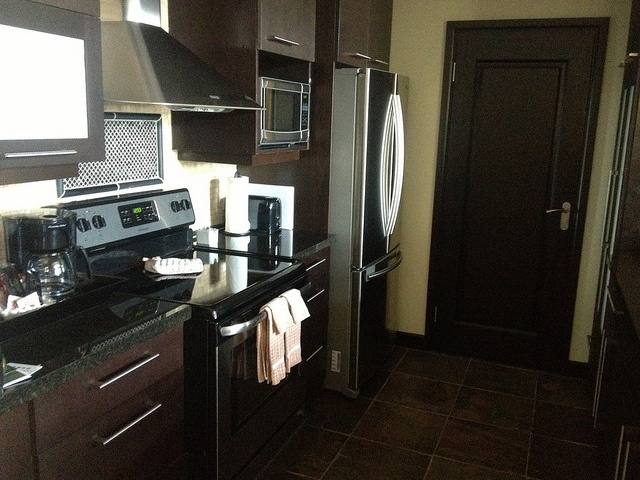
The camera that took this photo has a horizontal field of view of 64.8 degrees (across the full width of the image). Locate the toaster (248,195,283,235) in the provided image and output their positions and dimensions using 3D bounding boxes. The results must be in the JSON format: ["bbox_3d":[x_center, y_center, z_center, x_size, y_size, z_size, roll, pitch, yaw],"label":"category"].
[{"bbox_3d":[-0.330,-0.169,3.011,0.199,0.283,0.212,11,16,35],"label":"toaster"}]

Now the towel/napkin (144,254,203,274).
[{"bbox_3d":[-0.651,0.117,2.263,0.162,0.051,0.114,-2,8,-39],"label":"towel/napkin"}]

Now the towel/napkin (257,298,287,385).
[{"bbox_3d":[-0.220,0.457,2.231,0.097,0.354,0.160,10,15,17],"label":"towel/napkin"}]

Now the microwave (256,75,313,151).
[{"bbox_3d":[-0.202,-0.680,2.725,0.253,0.351,0.466,2,6,18],"label":"microwave"}]

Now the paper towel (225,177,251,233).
[{"bbox_3d":[-0.481,-0.200,2.915,0.142,0.340,0.220,-2,14,-11],"label":"paper towel"}]

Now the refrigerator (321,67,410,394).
[{"bbox_3d":[0.225,-0.086,3.363,0.688,1.884,0.829,6,10,23],"label":"refrigerator"}]

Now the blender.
[{"bbox_3d":[-0.997,0.049,1.858,0.166,0.303,0.256,9,12,14],"label":"blender"}]
